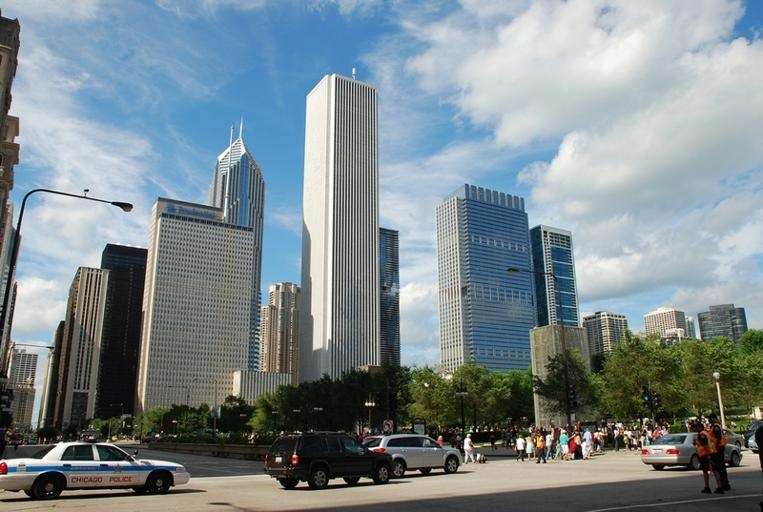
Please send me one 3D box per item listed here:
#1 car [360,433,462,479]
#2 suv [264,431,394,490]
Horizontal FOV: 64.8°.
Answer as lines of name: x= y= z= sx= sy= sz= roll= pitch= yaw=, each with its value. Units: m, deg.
car: x=1.930 y=12.185 z=37.117 sx=6.116 sy=2.070 sz=2.765 roll=5 pitch=-14 yaw=-27
suv: x=-2.836 y=10.979 z=32.700 sx=6.533 sy=2.393 sz=2.979 roll=5 pitch=-15 yaw=-30
